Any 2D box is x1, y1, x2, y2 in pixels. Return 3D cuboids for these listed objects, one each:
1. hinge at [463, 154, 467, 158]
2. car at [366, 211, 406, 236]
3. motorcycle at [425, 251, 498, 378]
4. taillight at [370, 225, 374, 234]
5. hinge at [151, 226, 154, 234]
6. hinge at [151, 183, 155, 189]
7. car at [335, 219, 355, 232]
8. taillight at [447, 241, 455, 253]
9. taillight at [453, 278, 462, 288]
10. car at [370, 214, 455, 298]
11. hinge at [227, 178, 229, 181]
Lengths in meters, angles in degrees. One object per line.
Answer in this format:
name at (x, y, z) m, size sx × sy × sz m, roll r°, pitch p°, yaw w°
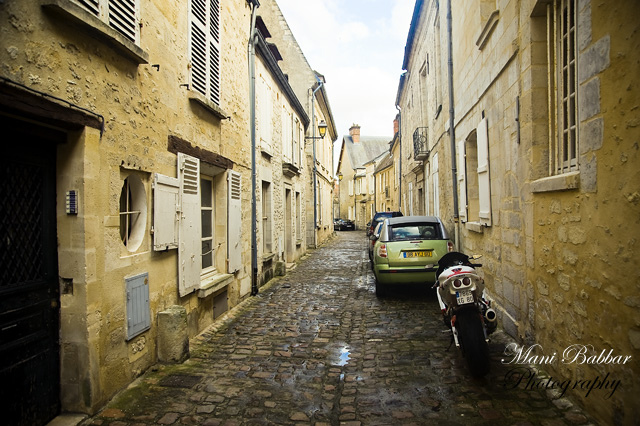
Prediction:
hinge at (2.980, -1.176, 8.950) m, size 0.070 × 0.025 × 0.073 m, roll -4°, pitch 0°, yaw 17°
car at (2.823, 0.215, 19.030) m, size 1.346 × 1.223 × 2.293 m, roll 0°, pitch 3°, yaw 6°
motorcycle at (1.902, 1.265, 5.688) m, size 0.746 × 1.375 × 1.284 m, roll -1°, pitch 6°, yaw 7°
taillight at (1.977, 0.620, 16.555) m, size 0.076 × 0.262 × 0.079 m, roll -6°, pitch -43°, yaw 17°
hinge at (-2.205, 0.244, 5.743) m, size 0.041 × 0.118 × 0.041 m, roll -1°, pitch 2°, yaw -18°
hinge at (-2.201, -0.367, 5.746) m, size 0.053 × 0.103 × 0.056 m, roll -2°, pitch 2°, yaw -22°
car at (2.179, 1.142, 40.640) m, size 1.773 × 0.859 × 1.131 m, roll 4°, pitch 8°, yaw 41°
taillight at (2.516, 0.647, 8.415) m, size 0.185 × 0.178 × 0.335 m, roll 1°, pitch 7°, yaw 20°
taillight at (1.740, 0.878, 5.496) m, size 0.099 × 0.107 × 0.024 m, roll -1°, pitch -6°, yaw 19°
car at (1.735, 0.753, 8.058) m, size 1.047 × 1.042 × 2.091 m, roll -2°, pitch 3°, yaw 3°
hinge at (-1.725, -0.636, 8.126) m, size 0.043 × 0.052 × 0.051 m, roll 2°, pitch 6°, yaw 16°
